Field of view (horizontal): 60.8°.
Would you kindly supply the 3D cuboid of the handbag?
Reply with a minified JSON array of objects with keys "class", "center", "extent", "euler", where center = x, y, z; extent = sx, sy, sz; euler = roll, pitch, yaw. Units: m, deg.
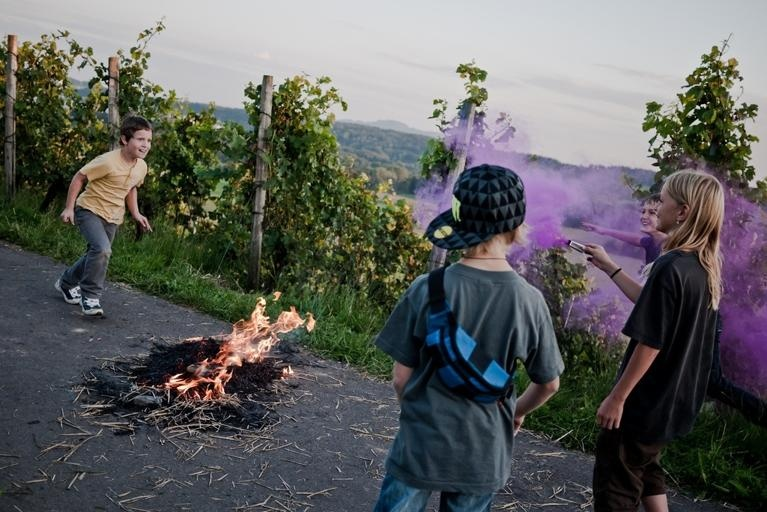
[{"class":"handbag","center":[0.549,0.647,5.056],"extent":[0.654,0.914,0.313],"euler":[11,-38,-44]}]

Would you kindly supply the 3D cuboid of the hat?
[{"class":"hat","center":[0.751,-0.465,5.177],"extent":[0.883,0.485,0.648],"euler":[-32,38,-31]}]
